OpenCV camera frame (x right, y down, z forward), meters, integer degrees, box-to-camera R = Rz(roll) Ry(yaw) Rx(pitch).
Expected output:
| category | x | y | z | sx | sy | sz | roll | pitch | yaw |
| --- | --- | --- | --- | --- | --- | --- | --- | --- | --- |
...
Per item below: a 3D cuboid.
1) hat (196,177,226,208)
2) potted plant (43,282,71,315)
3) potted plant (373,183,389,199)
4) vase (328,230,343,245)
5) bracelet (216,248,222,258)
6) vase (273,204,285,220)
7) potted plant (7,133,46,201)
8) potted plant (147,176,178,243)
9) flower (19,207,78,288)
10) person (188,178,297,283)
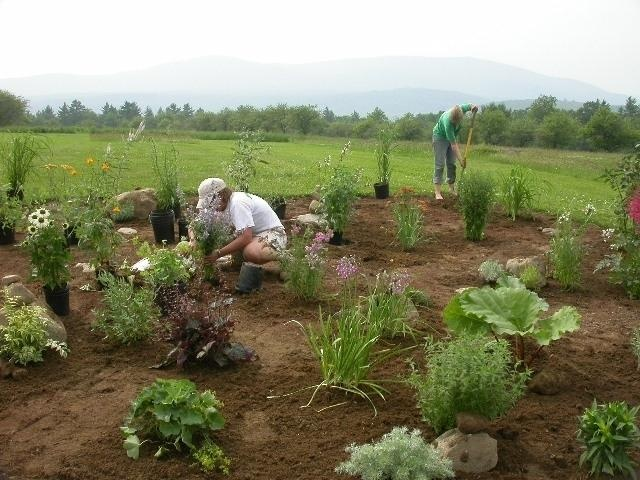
| category | x | y | z | sx | sy | sz | roll | pitch | yaw |
| --- | --- | --- | --- | --- | --- | --- | --- | --- | --- |
| hat | -1.342 | -0.558 | 6.695 | 0.361 | 0.378 | 0.535 | -2 | 11 | -11 |
| potted plant | -2.796 | 0.623 | 5.868 | 0.239 | 0.334 | 0.229 | 24 | 32 | 30 |
| potted plant | 1.260 | -1.026 | 11.181 | 0.271 | 0.332 | 0.304 | -5 | 12 | 2 |
| vase | 0.251 | -0.047 | 8.377 | 0.188 | 0.235 | 0.203 | 1 | -1 | 2 |
| bracelet | -1.213 | 0.155 | 6.592 | 0.056 | 0.119 | 0.075 | 9 | 9 | -2 |
| vase | -0.678 | -0.490 | 9.323 | 0.202 | 0.182 | 0.219 | -1 | 6 | -1 |
| potted plant | -4.693 | -1.155 | 8.652 | 0.531 | 1.039 | 1.395 | -6 | 12 | -28 |
| potted plant | -2.427 | -0.476 | 8.521 | 0.397 | 0.874 | 1.224 | -3 | 11 | -15 |
| flower | -2.864 | 0.091 | 5.744 | 0.448 | 0.743 | 0.365 | 2 | -25 | -37 |
| person | -1.033 | -0.118 | 7.161 | 1.095 | 1.515 | 0.935 | -6 | 15 | -18 |
